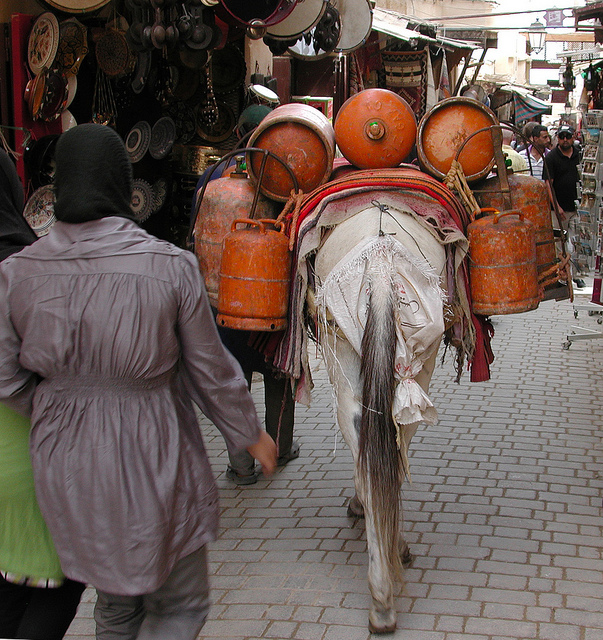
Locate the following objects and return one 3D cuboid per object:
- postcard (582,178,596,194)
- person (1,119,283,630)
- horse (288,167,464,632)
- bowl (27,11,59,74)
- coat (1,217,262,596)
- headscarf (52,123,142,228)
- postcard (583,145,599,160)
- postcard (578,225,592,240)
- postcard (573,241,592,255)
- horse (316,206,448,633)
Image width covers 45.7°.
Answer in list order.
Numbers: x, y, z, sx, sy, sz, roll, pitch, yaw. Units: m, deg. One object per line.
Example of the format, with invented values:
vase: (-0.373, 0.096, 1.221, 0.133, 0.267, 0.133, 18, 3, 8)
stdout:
postcard: (3.627, -1.712, 9.019, 0.166, 0.187, 0.324, 3, 15, 18)
person: (-0.450, 0.182, 1.903, 0.607, 1.386, 0.411, 1, 9, 14)
horse: (0.301, 0.276, 2.951, 0.606, 1.798, 0.646, 3, 10, 29)
bowl: (-1.819, -1.941, 5.041, 0.118, 0.472, 0.459, -2, 19, -42)
coat: (-0.444, 0.218, 1.857, 0.659, 0.963, 0.316, -2, 9, -3)
headscarf: (-0.525, -0.386, 1.919, 0.183, 0.291, 0.251, -6, 22, -23)
postcard: (3.665, -2.139, 9.060, 0.202, 0.222, 0.072, 8, 1, 27)
postcard: (3.639, -1.153, 9.176, 0.044, 0.207, 0.109, 8, -15, -35)
postcard: (3.745, -0.952, 9.368, 0.055, 0.167, 0.240, -8, 14, -23)
horse: (0.303, 0.372, 2.894, 0.514, 1.652, 0.592, 1, 10, 18)
